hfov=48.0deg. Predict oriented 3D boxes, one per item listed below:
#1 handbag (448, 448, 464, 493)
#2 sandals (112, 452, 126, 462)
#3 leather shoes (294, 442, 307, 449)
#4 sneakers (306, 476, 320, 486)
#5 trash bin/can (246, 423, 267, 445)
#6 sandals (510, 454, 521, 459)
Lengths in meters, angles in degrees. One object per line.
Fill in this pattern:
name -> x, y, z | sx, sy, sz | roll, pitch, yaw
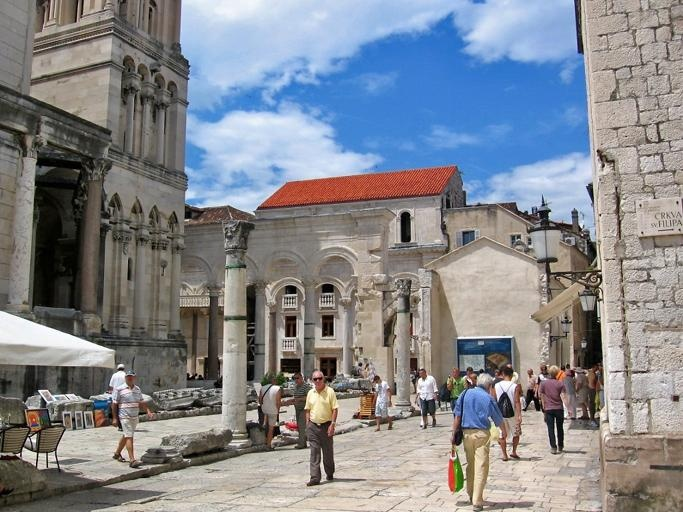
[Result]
handbag -> 1.793, 3.403, 12.089 | 0.210, 0.695, 0.597 | -4, -13, 6
sandals -> -4.386, 4.016, 15.225 | 0.349, 0.129, 0.128 | 8, -4, 36
leather shoes -> -0.936, 4.434, 17.789 | 0.275, 0.176, 0.109 | 4, -12, 4
sneakers -> -0.495, 3.966, 13.411 | 0.100, 0.101, 0.275 | -8, -12, 34
trash bin/can -> -1.942, 4.067, 17.326 | 0.240, 0.353, 0.425 | -21, -26, 38
sandals -> 3.585, 4.158, 15.807 | 0.219, 0.084, 0.076 | 2, -6, 22
